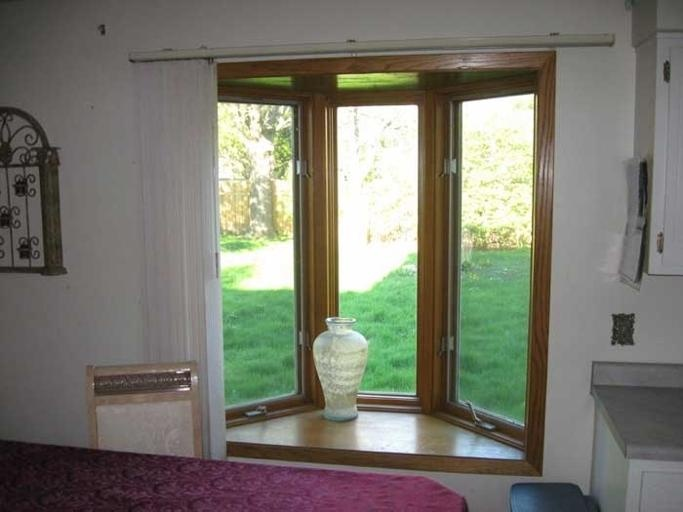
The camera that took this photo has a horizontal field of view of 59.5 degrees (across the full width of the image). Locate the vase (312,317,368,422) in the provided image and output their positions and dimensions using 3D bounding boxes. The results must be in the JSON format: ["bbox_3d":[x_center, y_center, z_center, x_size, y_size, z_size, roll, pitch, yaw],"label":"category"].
[{"bbox_3d":[-0.010,0.671,3.489,0.305,0.614,0.146,-1,11,-4],"label":"vase"}]
